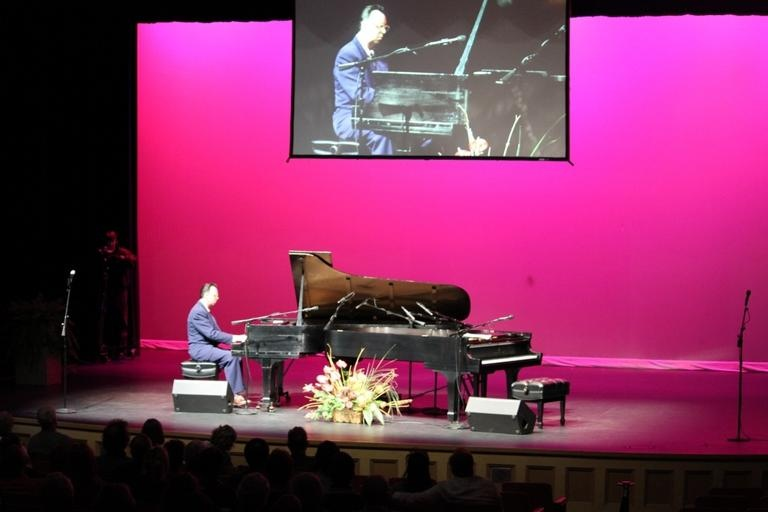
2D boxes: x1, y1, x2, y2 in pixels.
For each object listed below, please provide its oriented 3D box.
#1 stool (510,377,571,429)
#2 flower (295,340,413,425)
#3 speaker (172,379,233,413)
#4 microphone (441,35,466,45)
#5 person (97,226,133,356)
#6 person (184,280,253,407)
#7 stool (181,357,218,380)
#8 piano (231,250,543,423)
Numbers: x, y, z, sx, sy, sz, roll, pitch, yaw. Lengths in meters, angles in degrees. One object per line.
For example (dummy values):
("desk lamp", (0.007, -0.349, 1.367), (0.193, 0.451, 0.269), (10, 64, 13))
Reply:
("stool", (1.927, 1.844, 10.455), (0.692, 0.564, 0.569), (1, -4, -33))
("flower", (-0.323, 1.648, 10.852), (1.439, 0.892, 0.918), (1, 3, 7))
("speaker", (-2.307, 1.789, 10.640), (0.709, 0.364, 0.406), (1, 2, 0))
("microphone", (1.152, -3.601, 13.778), (0.434, 0.140, 0.121), (-13, 13, 2))
("person", (-4.643, 0.662, 14.392), (0.348, 2.389, 0.442), (5, 7, 38))
("person", (-2.262, 1.182, 11.396), (0.858, 1.496, 0.576), (4, 5, -5))
("stool", (-2.431, 1.508, 10.865), (0.487, 0.252, 0.284), (2, 0, 20))
("piano", (0.164, 0.950, 11.226), (3.596, 2.076, 2.084), (0, 1, 19))
